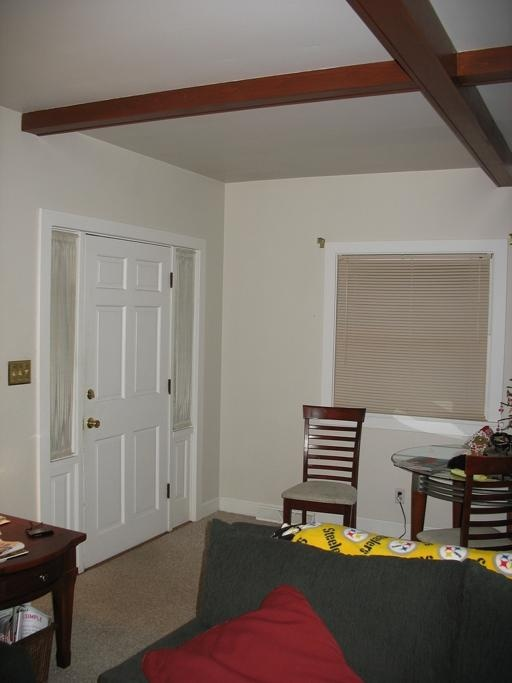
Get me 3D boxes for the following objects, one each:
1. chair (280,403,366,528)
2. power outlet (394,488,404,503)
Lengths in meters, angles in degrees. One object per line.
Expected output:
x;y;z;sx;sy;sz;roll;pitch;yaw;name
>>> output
0.458;0.883;3.690;0.464;0.828;1.246;3;1;8;chair
1.024;1.098;3.975;0.063;0.085;0.032;-2;-3;22;power outlet
